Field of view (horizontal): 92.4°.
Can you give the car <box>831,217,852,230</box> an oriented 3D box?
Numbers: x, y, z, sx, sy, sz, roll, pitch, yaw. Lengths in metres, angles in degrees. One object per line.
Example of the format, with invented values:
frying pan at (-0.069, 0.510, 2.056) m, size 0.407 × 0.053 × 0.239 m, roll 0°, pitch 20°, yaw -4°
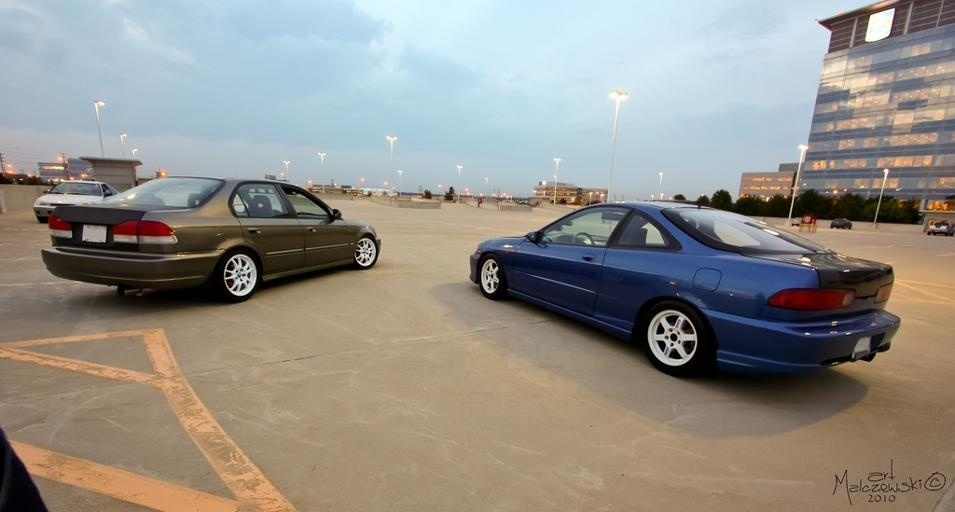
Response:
car at (36.093, -3.176, 45.475) m, size 2.588 × 0.852 × 1.294 m, roll -3°, pitch 5°, yaw -40°
